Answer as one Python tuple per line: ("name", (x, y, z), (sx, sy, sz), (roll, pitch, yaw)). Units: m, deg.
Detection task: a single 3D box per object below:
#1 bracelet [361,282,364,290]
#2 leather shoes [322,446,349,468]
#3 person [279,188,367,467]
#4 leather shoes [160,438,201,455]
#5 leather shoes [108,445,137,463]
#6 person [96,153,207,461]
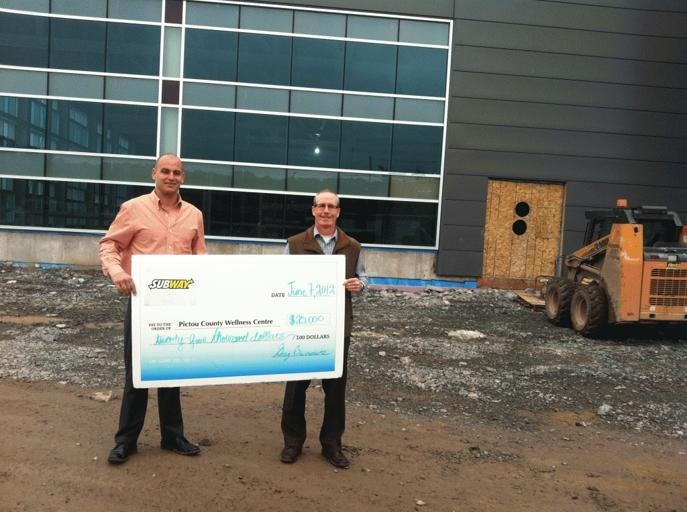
("bracelet", (0.258, 0.403, 10.099), (0.024, 0.096, 0.098), (9, -33, -8))
("leather shoes", (-0.087, 2.806, 10.257), (0.178, 0.190, 0.435), (1, -4, -41))
("person", (-0.283, 0.974, 10.322), (1.122, 3.756, 1.039), (3, 11, -1))
("leather shoes", (-2.250, 2.603, 10.170), (0.497, 0.178, 0.237), (3, -3, 17))
("leather shoes", (-3.012, 2.667, 9.960), (0.169, 0.170, 0.404), (-1, -16, 4))
("person", (-2.613, 0.700, 10.043), (1.344, 4.152, 0.852), (0, 12, -18))
